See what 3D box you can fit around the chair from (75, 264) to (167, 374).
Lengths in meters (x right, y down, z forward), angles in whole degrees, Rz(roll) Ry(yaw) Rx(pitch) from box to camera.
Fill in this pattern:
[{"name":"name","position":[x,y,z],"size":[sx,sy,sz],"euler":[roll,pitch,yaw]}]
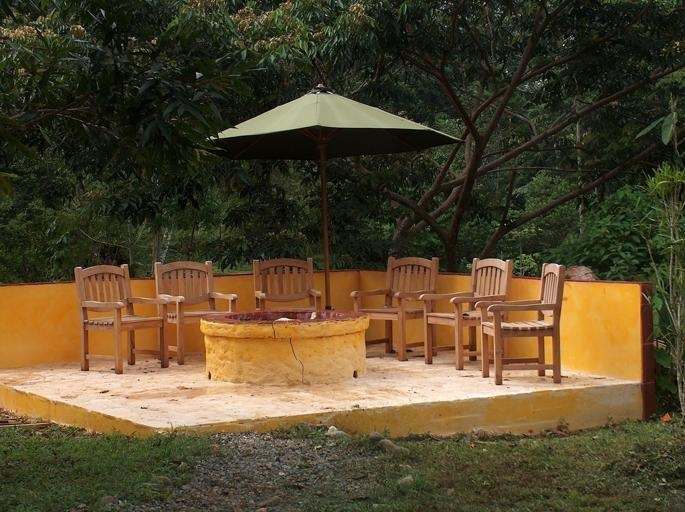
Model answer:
[{"name":"chair","position":[-2.441,0.683,8.193],"size":[0.721,1.178,0.787],"euler":[-1,0,29]}]

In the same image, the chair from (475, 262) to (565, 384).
[{"name":"chair","position":[1.762,0.649,7.297],"size":[0.746,1.161,0.806],"euler":[-1,0,-6]}]

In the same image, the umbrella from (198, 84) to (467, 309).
[{"name":"umbrella","position":[-0.232,-0.883,9.379],"size":[2.273,2.366,2.256],"euler":[-7,23,-23]}]

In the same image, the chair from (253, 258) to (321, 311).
[{"name":"chair","position":[-0.686,0.636,9.413],"size":[0.783,1.115,0.760],"euler":[-2,-8,-7]}]

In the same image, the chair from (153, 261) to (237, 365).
[{"name":"chair","position":[-1.711,0.659,8.628],"size":[0.745,1.208,0.673],"euler":[-2,0,-37]}]

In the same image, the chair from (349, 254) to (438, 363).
[{"name":"chair","position":[0.770,0.590,8.596],"size":[0.718,1.079,0.795],"euler":[1,6,-6]}]

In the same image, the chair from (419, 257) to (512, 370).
[{"name":"chair","position":[1.322,0.601,7.943],"size":[0.847,1.191,0.940],"euler":[1,0,-2]}]
